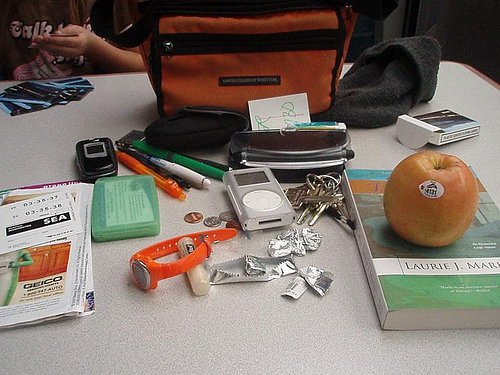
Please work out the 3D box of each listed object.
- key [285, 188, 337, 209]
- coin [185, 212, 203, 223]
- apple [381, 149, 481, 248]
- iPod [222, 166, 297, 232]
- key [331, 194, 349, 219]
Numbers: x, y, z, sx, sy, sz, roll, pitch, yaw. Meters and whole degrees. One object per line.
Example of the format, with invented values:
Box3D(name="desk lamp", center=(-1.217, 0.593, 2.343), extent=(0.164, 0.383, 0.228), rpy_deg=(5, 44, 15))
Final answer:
Box3D(name="key", center=(0.098, 0.002, 0.677), extent=(0.100, 0.027, 0.063), rpy_deg=(-11, 25, -30))
Box3D(name="coin", center=(-0.093, 0.049, 0.614), extent=(0.029, 0.006, 0.026), rpy_deg=(-3, 46, 0))
Box3D(name="apple", center=(0.265, 0.019, 0.550), extent=(0.133, 0.132, 0.130), rpy_deg=(-7, 32, 1))
Box3D(name="iPod", center=(0.017, 0.013, 0.631), extent=(0.099, 0.038, 0.143), rpy_deg=(-14, 47, -11))
Box3D(name="key", center=(0.150, 0.033, 0.622), extent=(0.012, 0.005, 0.044), rpy_deg=(-7, 51, -29))
